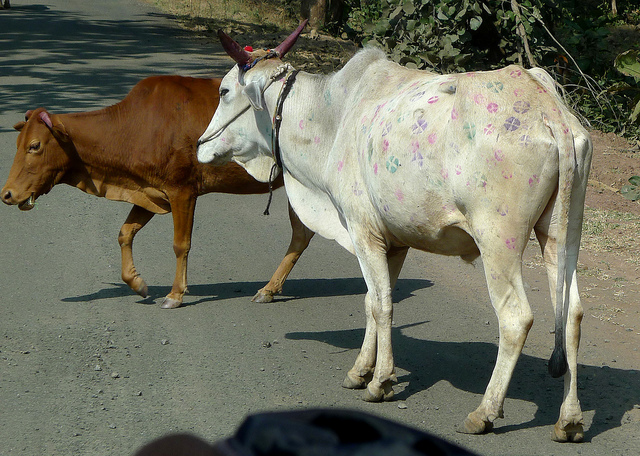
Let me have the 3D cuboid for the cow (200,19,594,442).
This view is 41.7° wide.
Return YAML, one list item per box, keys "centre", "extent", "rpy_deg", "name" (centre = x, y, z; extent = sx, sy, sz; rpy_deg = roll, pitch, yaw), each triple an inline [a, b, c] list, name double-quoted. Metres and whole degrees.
- centre: [0.810, -0.080, 7.111]
  extent: [1.465, 2.720, 3.754]
  rpy_deg: [-21, 42, -35]
  name: "cow"
